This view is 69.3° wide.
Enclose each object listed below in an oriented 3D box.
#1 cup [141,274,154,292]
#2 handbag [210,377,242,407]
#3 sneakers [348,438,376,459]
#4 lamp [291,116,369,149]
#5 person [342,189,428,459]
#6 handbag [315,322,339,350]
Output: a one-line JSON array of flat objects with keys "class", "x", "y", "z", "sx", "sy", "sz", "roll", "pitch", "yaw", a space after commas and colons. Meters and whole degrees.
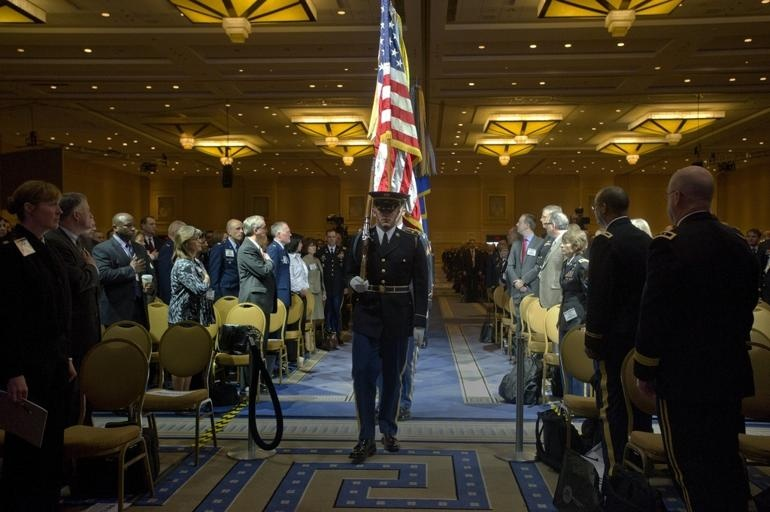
[{"class": "cup", "x": -3.000, "y": 0.329, "z": 7.002, "sx": 0.219, "sy": 0.212, "sz": 0.212, "roll": 0, "pitch": 6, "yaw": 0}, {"class": "handbag", "x": -1.994, "y": 1.753, "z": 7.036, "sx": 0.355, "sy": 0.347, "sz": 0.240, "roll": 3, "pitch": -18, "yaw": 0}, {"class": "sneakers", "x": -0.214, "y": 1.857, "z": 5.277, "sx": 0.115, "sy": 0.148, "sz": 0.291, "roll": -12, "pitch": -21, "yaw": 27}, {"class": "lamp", "x": -1.716, "y": -3.999, "z": 17.784, "sx": 2.678, "sy": 0.714, "sz": 2.947, "roll": 1, "pitch": 0, "yaw": 6}, {"class": "person", "x": 0.037, "y": 0.645, "z": 5.367, "sx": 0.777, "sy": 2.529, "sz": 0.446, "roll": -1, "pitch": 1, "yaw": -1}, {"class": "handbag", "x": -1.142, "y": 1.582, "z": 10.874, "sx": 0.510, "sy": 0.550, "sz": 0.428, "roll": 2, "pitch": 0, "yaw": 4}]
